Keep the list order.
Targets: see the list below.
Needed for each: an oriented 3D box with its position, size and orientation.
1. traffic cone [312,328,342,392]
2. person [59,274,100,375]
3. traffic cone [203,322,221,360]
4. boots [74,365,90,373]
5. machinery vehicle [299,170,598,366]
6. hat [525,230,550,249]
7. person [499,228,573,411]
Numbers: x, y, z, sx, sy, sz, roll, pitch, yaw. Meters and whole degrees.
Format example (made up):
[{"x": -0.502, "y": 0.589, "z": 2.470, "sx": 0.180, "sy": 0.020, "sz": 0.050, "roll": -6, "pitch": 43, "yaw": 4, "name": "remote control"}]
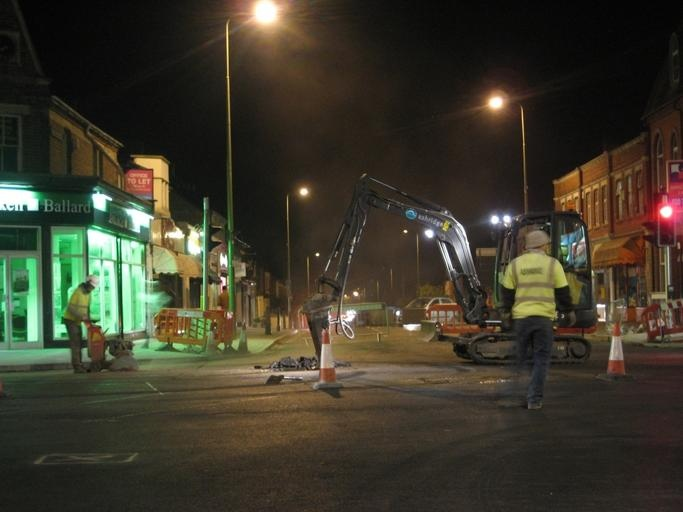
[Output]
[{"x": -0.276, "y": 1.880, "z": 13.017, "sx": 0.449, "sy": 1.071, "sz": 0.518, "roll": 1, "pitch": -5, "yaw": -15, "name": "traffic cone"}, {"x": -6.247, "y": 1.592, "z": 17.057, "sx": 0.753, "sy": 2.361, "sz": 0.636, "roll": -1, "pitch": -8, "yaw": -8, "name": "person"}, {"x": -4.105, "y": 2.573, "z": 21.615, "sx": 0.681, "sy": 1.109, "sz": 0.736, "roll": 2, "pitch": -9, "yaw": -11, "name": "traffic cone"}, {"x": -6.037, "y": 2.645, "z": 16.748, "sx": 0.379, "sy": 0.204, "sz": 0.526, "roll": 7, "pitch": -14, "yaw": -42, "name": "boots"}, {"x": 2.510, "y": 0.595, "z": 21.440, "sx": 9.709, "sy": 6.215, "sz": 4.904, "roll": 0, "pitch": -6, "yaw": -14, "name": "machinery vehicle"}, {"x": 2.939, "y": -0.274, "z": 10.731, "sx": 0.310, "sy": 0.208, "sz": 0.233, "roll": -18, "pitch": 14, "yaw": -31, "name": "hat"}, {"x": 2.846, "y": 0.888, "z": 10.491, "sx": 0.993, "sy": 2.665, "sz": 0.577, "roll": -3, "pitch": -8, "yaw": 7, "name": "person"}]
